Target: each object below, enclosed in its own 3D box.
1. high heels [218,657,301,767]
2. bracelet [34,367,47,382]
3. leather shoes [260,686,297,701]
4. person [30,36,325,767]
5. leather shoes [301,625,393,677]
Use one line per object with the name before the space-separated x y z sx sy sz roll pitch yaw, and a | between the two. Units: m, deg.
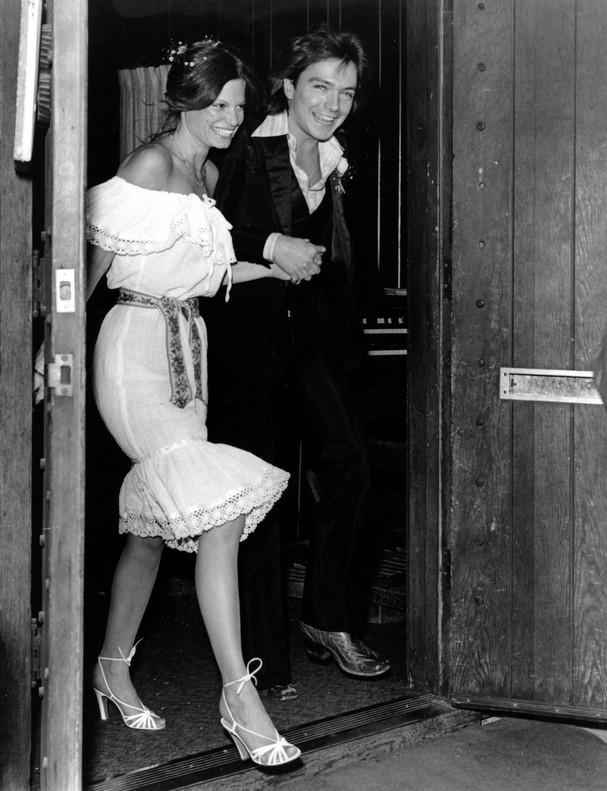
high heels | -0.121 0.696 2.046 0.106 0.168 0.328 -6 12 -24
bracelet | -0.477 -0.036 1.630 0.020 0.028 0.018 9 7 11
leather shoes | -0.065 0.825 2.526 0.107 0.057 0.046 -3 0 21
person | -0.252 0.014 2.139 0.498 1.566 0.581 1 0 -10
leather shoes | 0.121 0.737 2.741 0.120 0.171 0.315 -2 6 -45
